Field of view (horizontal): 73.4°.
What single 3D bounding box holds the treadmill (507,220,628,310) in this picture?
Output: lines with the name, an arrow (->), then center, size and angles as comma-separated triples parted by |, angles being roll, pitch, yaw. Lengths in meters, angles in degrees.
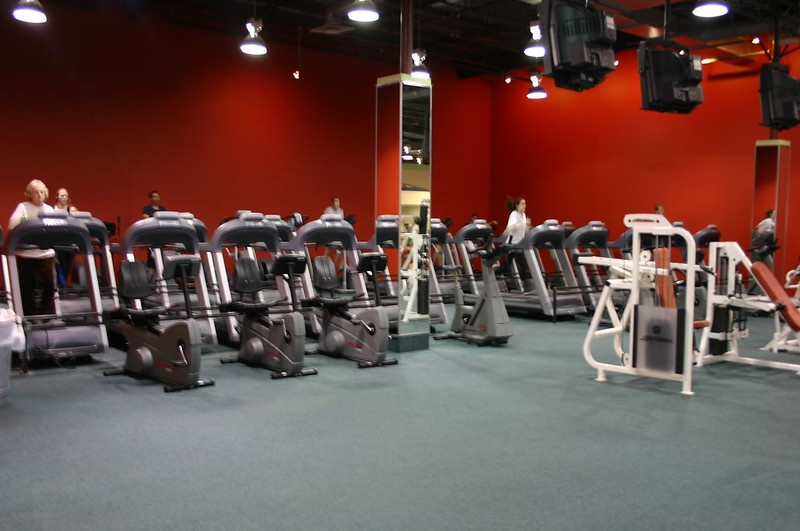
treadmill -> 2.914, 0.238, 10.004 | 1.028, 1.255, 1.849 | -16, -17, 16

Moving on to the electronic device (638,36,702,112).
electronic device -> 3.552, -2.517, 7.046 | 0.810, 0.924, 0.397 | -5, 3, -15

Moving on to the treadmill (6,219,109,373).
treadmill -> -3.949, 0.290, 6.180 | 0.880, 1.774, 0.978 | -6, 3, -29

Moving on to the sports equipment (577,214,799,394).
sports equipment -> 2.992, 0.339, 6.494 | 2.710, 1.930, 1.794 | 1, 3, 42

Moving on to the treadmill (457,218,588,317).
treadmill -> 2.111, 0.113, 10.162 | 2.507, 1.717, 1.314 | -1, 1, 44

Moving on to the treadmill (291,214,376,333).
treadmill -> -0.703, -0.056, 7.836 | 1.196, 1.829, 1.739 | -1, 0, -30
